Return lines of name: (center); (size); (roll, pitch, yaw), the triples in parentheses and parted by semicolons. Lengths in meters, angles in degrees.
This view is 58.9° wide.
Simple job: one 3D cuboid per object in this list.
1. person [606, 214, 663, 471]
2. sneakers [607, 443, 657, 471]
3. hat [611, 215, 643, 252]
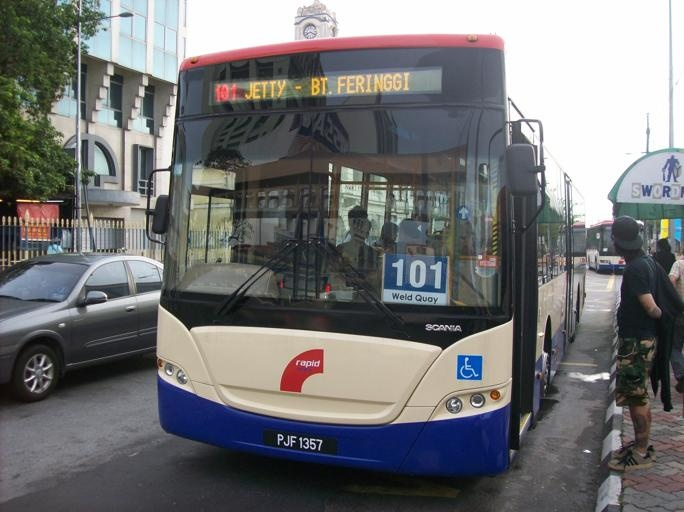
person: (3.025, 0.895, 6.250); (0.506, 2.574, 0.622); (3, 3, 28)
sneakers: (2.929, 2.078, 6.248); (0.609, 0.299, 0.231); (-2, -3, -6)
hat: (3.049, -0.259, 6.505); (0.279, 0.239, 0.443); (-3, 41, 13)
